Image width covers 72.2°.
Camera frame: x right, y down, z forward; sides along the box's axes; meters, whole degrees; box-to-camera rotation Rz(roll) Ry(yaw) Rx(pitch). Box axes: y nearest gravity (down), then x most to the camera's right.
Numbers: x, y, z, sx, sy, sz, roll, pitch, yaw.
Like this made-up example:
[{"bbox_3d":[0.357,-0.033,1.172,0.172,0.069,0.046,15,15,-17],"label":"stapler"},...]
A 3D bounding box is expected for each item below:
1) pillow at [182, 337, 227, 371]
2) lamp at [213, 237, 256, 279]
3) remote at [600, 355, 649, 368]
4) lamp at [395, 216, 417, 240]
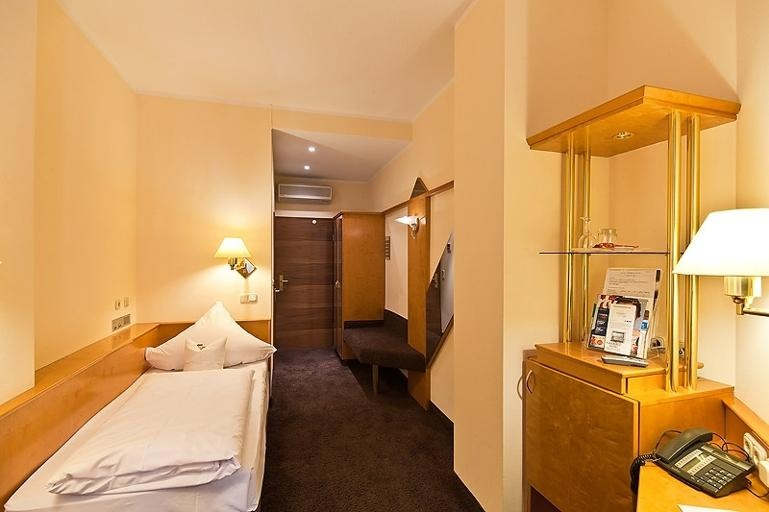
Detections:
[{"bbox_3d":[-1.470,0.850,4.462,0.423,0.381,0.219,4,-25,-14],"label":"pillow"},{"bbox_3d":[-1.372,0.032,4.901,0.327,0.408,0.312,-1,14,-7],"label":"lamp"},{"bbox_3d":[1.359,0.600,3.000,0.157,0.033,0.095,-1,-3,39],"label":"remote"},{"bbox_3d":[0.259,-0.287,5.449,0.074,0.202,0.306,-8,4,-10],"label":"lamp"}]
